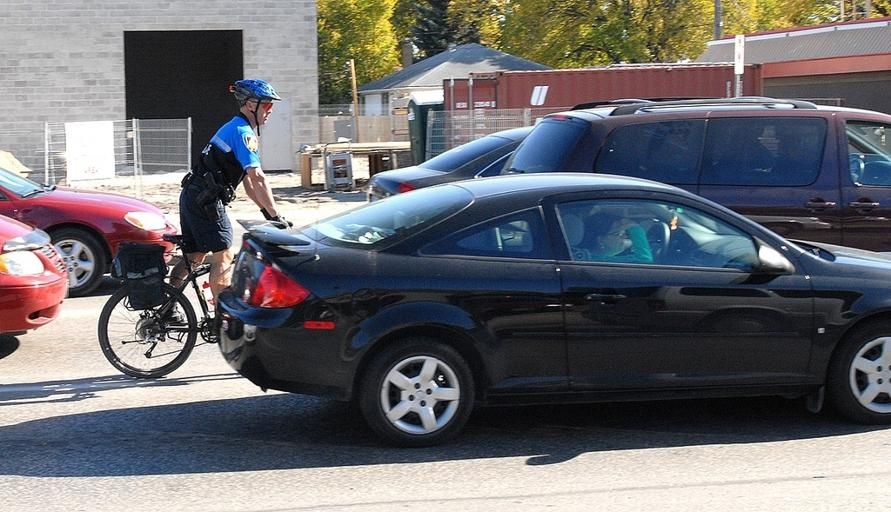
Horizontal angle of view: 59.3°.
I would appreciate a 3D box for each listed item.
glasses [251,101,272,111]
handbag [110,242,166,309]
[{"bbox_3d":[-1.914,-1.558,8.175,0.257,0.033,0.165,1,-1,-9],"label":"glasses"},{"bbox_3d":[-3.048,0.210,7.893,0.530,0.688,0.248,-4,15,-10],"label":"handbag"}]
